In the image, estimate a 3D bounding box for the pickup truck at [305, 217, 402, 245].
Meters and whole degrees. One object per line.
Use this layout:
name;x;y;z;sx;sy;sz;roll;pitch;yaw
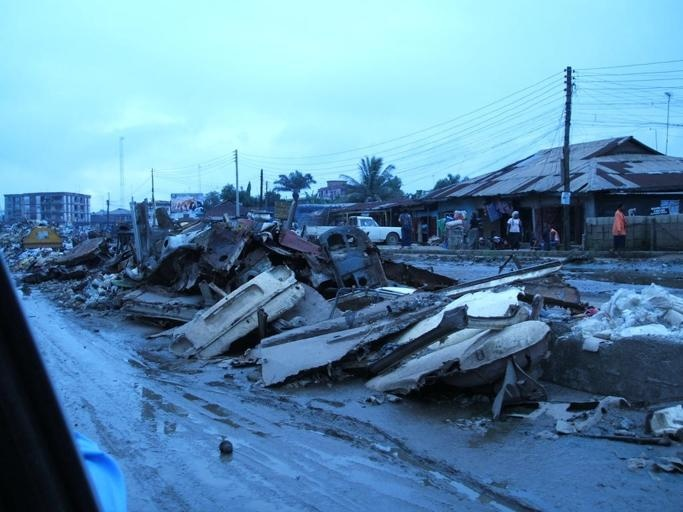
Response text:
pickup truck;0.874;-1.314;27.770;5.216;1.426;2.191;-1;3;-13

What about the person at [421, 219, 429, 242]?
person;5.199;-1.578;32.596;0.380;1.387;1.091;-1;5;-5

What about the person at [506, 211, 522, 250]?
person;6.612;-0.943;19.840;0.410;1.467;2.279;1;5;17

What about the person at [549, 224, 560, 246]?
person;8.474;-0.683;20.588;0.329;0.691;0.864;1;5;21
